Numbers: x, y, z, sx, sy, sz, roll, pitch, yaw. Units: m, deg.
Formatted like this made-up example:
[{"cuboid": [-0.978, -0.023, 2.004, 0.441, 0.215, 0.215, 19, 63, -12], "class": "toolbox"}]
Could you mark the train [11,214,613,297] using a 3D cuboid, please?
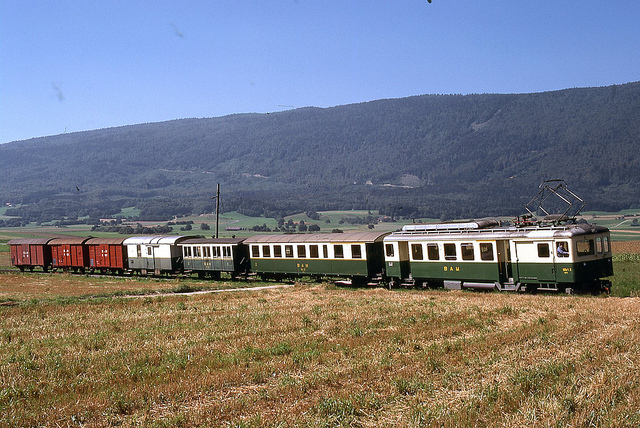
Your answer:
[{"cuboid": [-6.957, 3.139, 56.837, 61.922, 5.262, 10.430, -1, 1, 37], "class": "train"}]
